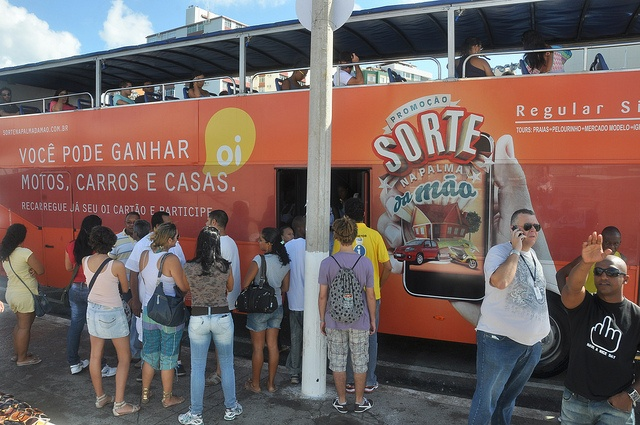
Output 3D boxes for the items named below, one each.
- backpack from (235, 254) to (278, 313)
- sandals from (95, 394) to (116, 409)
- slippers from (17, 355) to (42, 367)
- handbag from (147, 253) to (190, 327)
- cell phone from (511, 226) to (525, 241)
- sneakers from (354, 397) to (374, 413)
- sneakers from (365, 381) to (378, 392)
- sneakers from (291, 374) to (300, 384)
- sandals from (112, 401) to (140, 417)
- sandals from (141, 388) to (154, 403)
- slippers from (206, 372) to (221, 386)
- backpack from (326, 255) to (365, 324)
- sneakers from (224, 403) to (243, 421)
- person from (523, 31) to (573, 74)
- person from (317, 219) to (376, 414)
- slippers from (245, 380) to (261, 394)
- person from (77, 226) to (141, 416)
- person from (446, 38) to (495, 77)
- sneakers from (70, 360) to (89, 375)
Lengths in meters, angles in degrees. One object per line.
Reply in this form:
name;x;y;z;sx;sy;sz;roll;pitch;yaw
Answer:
backpack;-0.922;1.050;7.843;0.574;0.810;0.315;0;-2;24
sandals;-3.071;2.667;7.726;0.126;0.116;0.267;5;7;20
slippers;-4.700;2.373;8.736;0.283;0.098;0.162;-2;6;-22
handbag;-2.178;1.021;7.475;0.386;0.846;0.411;2;7;14
cell phone;2.365;0.237;6.510;0.163;0.153;0.084;11;15;41
sneakers;0.614;2.697;7.660;0.304;0.136;0.117;-7;7;-40
sneakers;0.767;2.587;8.087;0.078;0.105;0.236;3;8;36
sneakers;-0.374;2.509;8.177;0.114;0.122;0.115;1;3;10
sandals;-2.714;2.690;7.563;0.335;0.152;0.177;-2;9;-23
sandals;-2.487;2.624;7.785;0.103;0.154;0.225;1;6;-5
slippers;-1.620;2.527;8.220;0.124;0.153;0.344;-5;-10;42
backpack;0.324;1.087;7.437;0.512;0.928;0.470;-1;7;-21
sneakers;-1.210;2.742;7.483;0.127;0.146;0.303;5;9;25
person;3.599;-2.573;8.704;0.710;0.672;0.722;9;14;37
person;0.389;1.433;7.630;0.795;2.852;0.715;1;12;7
slippers;-1.004;2.576;8.063;0.236;0.098;0.115;17;17;37
person;-2.996;1.501;7.685;0.601;2.488;0.968;-5;12;-25
person;2.483;-2.502;8.764;0.555;0.664;0.817;-1;12;-9
sneakers;-3.794;2.400;8.524;0.113;0.147;0.332;6;13;19
